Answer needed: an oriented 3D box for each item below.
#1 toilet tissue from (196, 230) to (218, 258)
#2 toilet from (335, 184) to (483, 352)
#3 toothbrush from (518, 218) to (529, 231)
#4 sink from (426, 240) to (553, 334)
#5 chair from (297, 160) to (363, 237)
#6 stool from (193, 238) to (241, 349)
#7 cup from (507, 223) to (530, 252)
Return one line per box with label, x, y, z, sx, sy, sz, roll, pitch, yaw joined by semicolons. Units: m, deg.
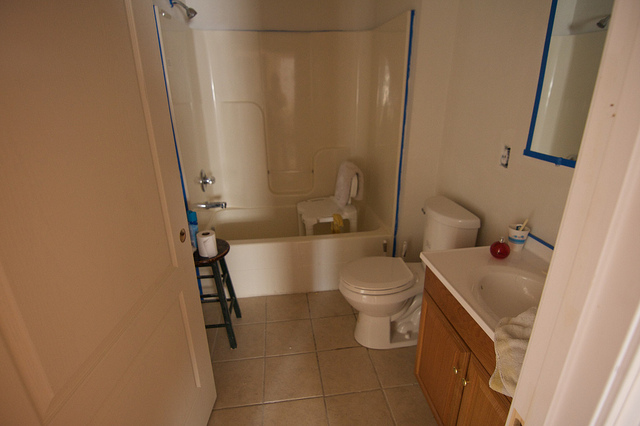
toilet tissue;-0.639;0.176;2.529;0.108;0.125;0.111;-12;21;-22
toilet;0.469;0.362;2.750;0.765;0.885;0.517;-2;21;-8
toothbrush;0.981;0.059;2.147;0.007;0.008;0.076;12;54;37
sink;0.796;0.315;2.044;0.358;0.171;0.414;-3;26;-4
chair;0.069;-0.041;3.695;0.501;0.717;0.431;-9;24;-20
stool;-0.638;0.447;2.805;0.238;0.683;0.590;-8;21;-14
cup;0.975;0.143;2.156;0.087;0.099;0.086;6;2;0
